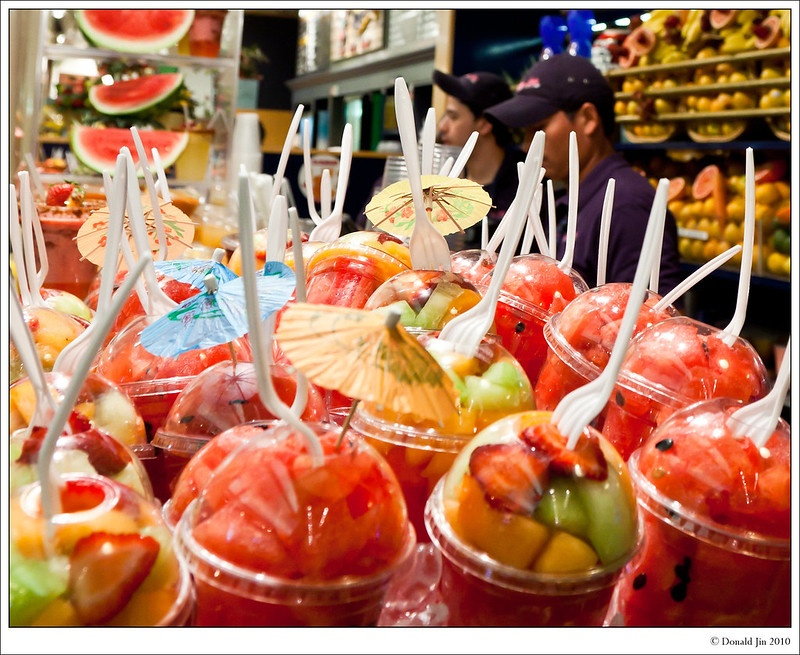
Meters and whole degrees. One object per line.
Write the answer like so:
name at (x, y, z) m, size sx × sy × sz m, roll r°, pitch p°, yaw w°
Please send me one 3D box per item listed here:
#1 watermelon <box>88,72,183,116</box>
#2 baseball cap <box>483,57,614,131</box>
watermelon at (-1.323, -1.187, 3.469) m, size 0.415 × 0.161 × 0.267 m, roll -16°, pitch 48°, yaw -5°
baseball cap at (0.652, -0.975, 2.980) m, size 0.447 × 0.261 × 0.311 m, roll 7°, pitch 11°, yaw -2°
